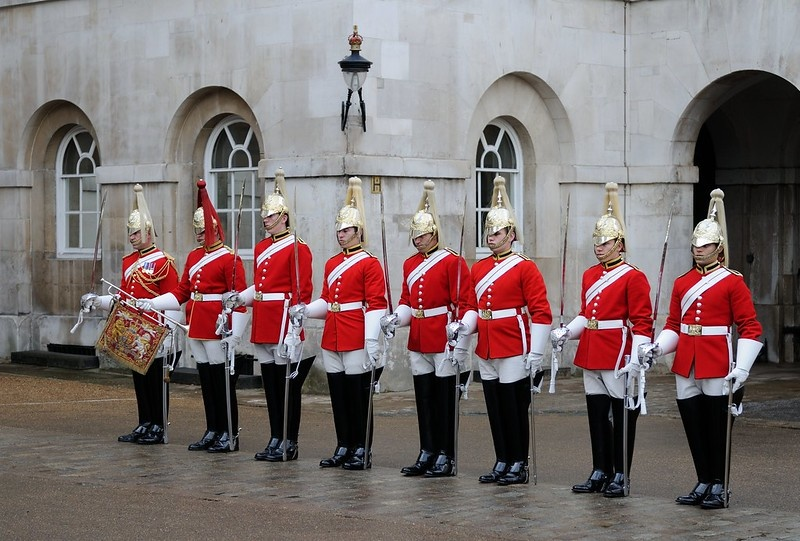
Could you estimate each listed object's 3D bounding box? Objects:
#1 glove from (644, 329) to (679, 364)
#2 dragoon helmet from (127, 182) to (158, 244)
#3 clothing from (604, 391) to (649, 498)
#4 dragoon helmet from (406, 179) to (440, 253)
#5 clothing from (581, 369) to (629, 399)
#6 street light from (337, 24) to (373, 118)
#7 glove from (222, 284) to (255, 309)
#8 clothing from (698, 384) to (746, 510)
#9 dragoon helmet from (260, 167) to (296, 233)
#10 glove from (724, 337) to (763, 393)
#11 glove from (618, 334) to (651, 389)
[{"bbox_3d":[2.598,0.749,18.703,0.427,0.256,0.178,-30,28,-27],"label":"glove"},{"bbox_3d":[-2.965,-0.670,21.187,0.350,0.692,0.328,-7,14,-23],"label":"dragoon helmet"},{"bbox_3d":[2.249,1.771,18.861,0.450,0.828,0.243,0,0,-33],"label":"clothing"},{"bbox_3d":[0.295,-0.638,19.748,0.418,0.696,0.425,11,18,23],"label":"dragoon helmet"},{"bbox_3d":[2.115,1.122,18.943,0.476,0.433,0.278,-1,-1,34],"label":"clothing"},{"bbox_3d":[-0.563,-2.519,23.821,0.406,1.029,0.651,-1,0,0],"label":"street light"},{"bbox_3d":[-1.778,0.267,20.404,0.260,0.153,0.305,-9,1,-30],"label":"glove"},{"bbox_3d":[3.206,1.706,18.425,0.406,1.087,0.222,-1,0,9],"label":"clothing"},{"bbox_3d":[-1.358,-0.815,20.368,0.369,0.742,0.434,12,14,35],"label":"dragoon helmet"},{"bbox_3d":[3.419,0.914,18.379,0.323,0.456,0.239,0,0,-33],"label":"glove"},{"bbox_3d":[2.362,0.893,18.675,0.192,0.487,0.303,10,-1,-21],"label":"glove"}]
